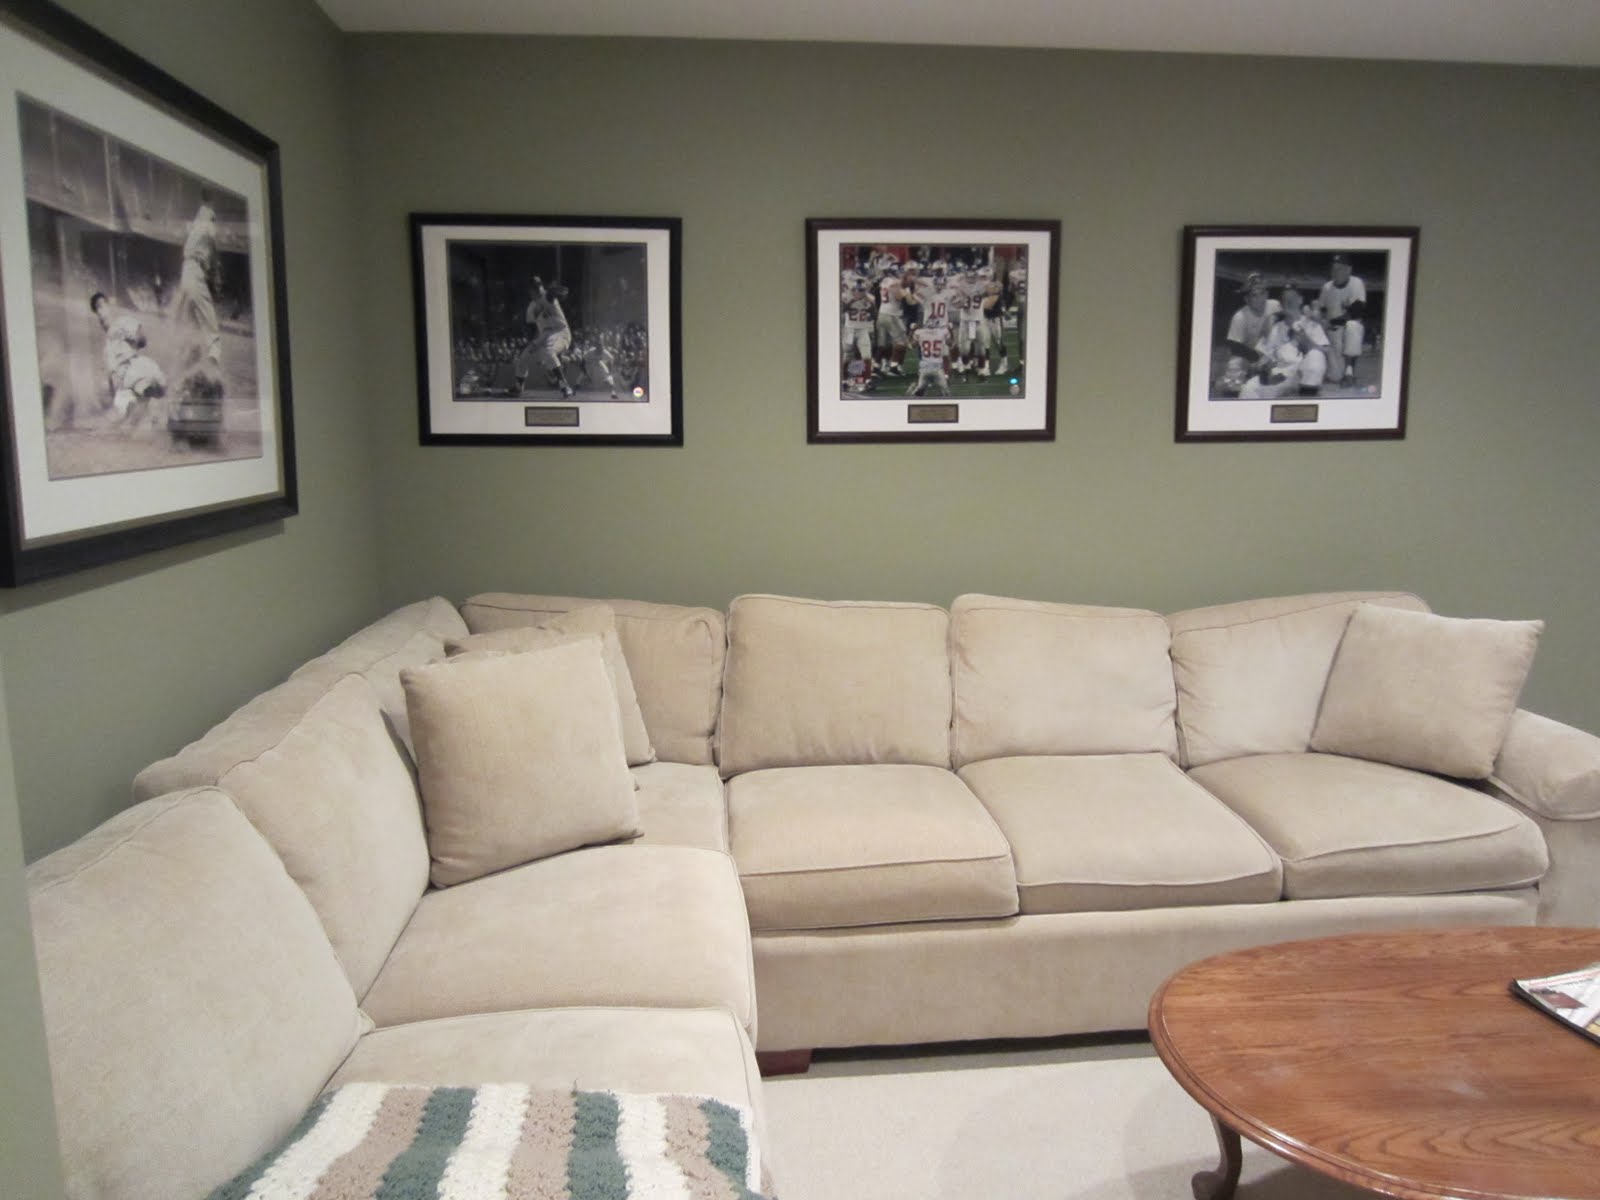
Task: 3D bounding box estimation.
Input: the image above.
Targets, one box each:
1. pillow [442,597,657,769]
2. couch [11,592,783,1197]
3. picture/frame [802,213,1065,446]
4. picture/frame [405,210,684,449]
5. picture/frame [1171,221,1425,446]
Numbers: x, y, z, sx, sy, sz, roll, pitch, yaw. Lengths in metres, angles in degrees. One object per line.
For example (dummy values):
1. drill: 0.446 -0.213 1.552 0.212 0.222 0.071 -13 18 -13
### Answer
1. pillow: -0.688 0.269 3.714 0.482 0.487 0.185 -10 -17 -41
2. couch: -0.611 0.638 2.755 1.166 0.495 1.296 0 17 0
3. picture/frame: 0.413 -0.928 4.153 0.737 0.642 0.033 0 6 -6
4. picture/frame: -0.863 -0.913 4.058 0.739 0.665 0.057 0 7 -6
5. picture/frame: 1.676 -0.940 4.273 0.736 0.681 0.059 0 6 -10
